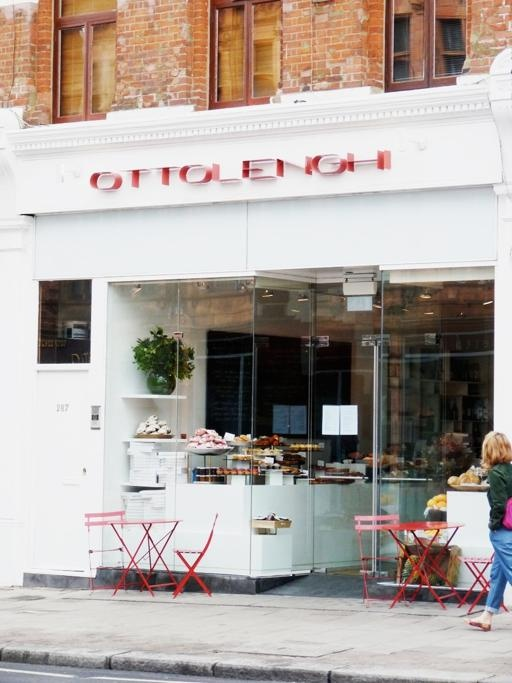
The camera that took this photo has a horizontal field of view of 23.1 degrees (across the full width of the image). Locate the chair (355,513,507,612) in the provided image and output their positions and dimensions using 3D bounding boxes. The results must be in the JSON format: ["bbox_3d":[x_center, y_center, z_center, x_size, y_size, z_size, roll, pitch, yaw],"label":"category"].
[{"bbox_3d":[1.442,2.163,12.570,1.029,0.678,1.005,5,-6,-38],"label":"chair"}]

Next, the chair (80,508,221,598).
[{"bbox_3d":[-1.085,2.304,13.741,1.590,1.065,0.786,-5,-8,28],"label":"chair"}]

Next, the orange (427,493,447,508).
[{"bbox_3d":[1.795,1.583,12.586,0.152,0.061,0.151,-6,-3,-7],"label":"orange"}]

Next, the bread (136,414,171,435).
[{"bbox_3d":[-1.176,0.967,14.413,0.134,0.250,0.478,5,-8,-44],"label":"bread"}]

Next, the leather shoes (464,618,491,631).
[{"bbox_3d":[1.830,2.366,10.575,0.234,0.097,0.086,10,-4,30],"label":"leather shoes"}]

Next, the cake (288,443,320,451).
[{"bbox_3d":[0.549,1.180,14.140,0.084,0.092,0.469,-6,-7,38],"label":"cake"}]

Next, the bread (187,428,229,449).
[{"bbox_3d":[-0.534,1.059,13.802,0.514,0.244,0.116,-6,-8,41],"label":"bread"}]
